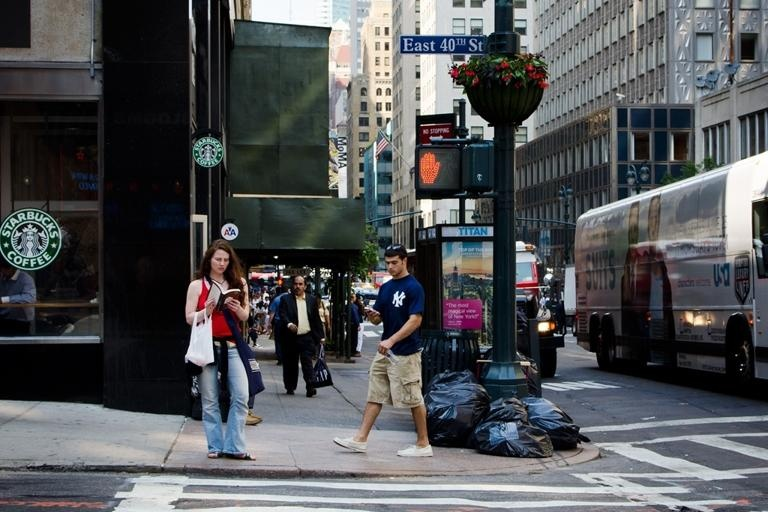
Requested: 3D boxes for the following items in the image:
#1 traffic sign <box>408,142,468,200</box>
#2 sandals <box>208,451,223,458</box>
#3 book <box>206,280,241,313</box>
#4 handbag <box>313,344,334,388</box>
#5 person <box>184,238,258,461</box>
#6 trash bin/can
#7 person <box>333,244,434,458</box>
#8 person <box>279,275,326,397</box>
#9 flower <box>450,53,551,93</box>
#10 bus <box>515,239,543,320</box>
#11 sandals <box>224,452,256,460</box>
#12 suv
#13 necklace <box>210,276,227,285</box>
[{"bbox_3d":[0.811,-1.277,14.919,0.715,0.815,0.424,0,-1,3],"label":"traffic sign"},{"bbox_3d":[-2.202,2.604,12.883,0.085,0.063,0.155,1,-1,4],"label":"sandals"},{"bbox_3d":[-2.051,0.534,12.612,0.423,0.370,0.195,0,-1,13],"label":"book"},{"bbox_3d":[-1.261,2.259,19.983,0.344,0.903,0.793,0,-1,-3],"label":"handbag"},{"bbox_3d":[-2.132,1.294,12.972,0.928,2.639,1.086,0,-1,-19],"label":"person"},{"bbox_3d":[1.092,1.967,16.729,1.434,1.306,0.675,0,0,4],"label":"trash bin/can"},{"bbox_3d":[-0.012,1.301,13.476,1.095,2.841,1.062,-3,-10,29],"label":"person"},{"bbox_3d":[-1.702,1.614,19.907,0.881,2.406,0.704,0,-1,7],"label":"person"},{"bbox_3d":[1.580,-2.791,15.225,1.097,0.424,1.097,-8,9,-27],"label":"flower"},{"bbox_3d":[5.460,0.628,37.867,1.193,2.146,3.531,-1,-3,3],"label":"bus"},{"bbox_3d":[-1.861,2.601,12.788,0.411,0.186,0.145,2,2,-9],"label":"sandals"},{"bbox_3d":[3.632,1.892,23.471,1.495,1.494,2.380,0,-3,-3],"label":"suv"},{"bbox_3d":[-2.139,0.346,12.775,0.154,0.113,0.040,18,-23,-35],"label":"necklace"}]
